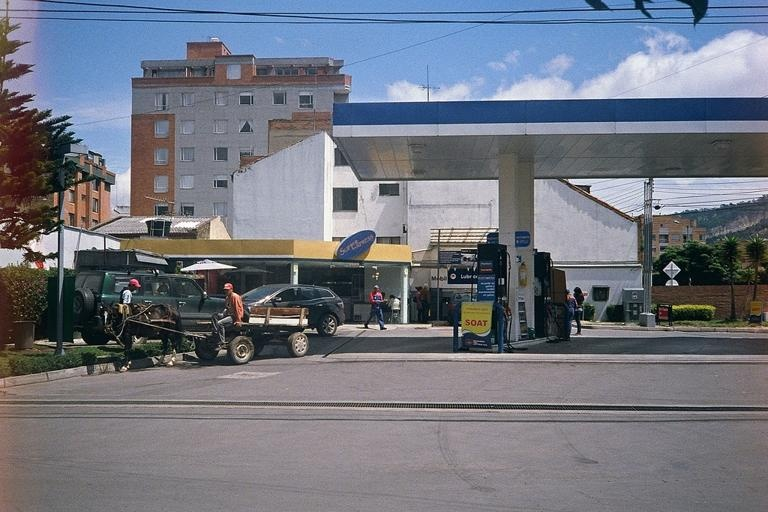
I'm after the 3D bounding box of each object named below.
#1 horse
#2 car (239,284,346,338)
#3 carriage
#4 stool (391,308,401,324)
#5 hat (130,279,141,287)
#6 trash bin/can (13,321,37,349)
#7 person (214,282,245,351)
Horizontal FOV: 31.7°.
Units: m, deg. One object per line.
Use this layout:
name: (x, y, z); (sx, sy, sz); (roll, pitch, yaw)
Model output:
horse: (-8.431, 2.866, 48.127); (2.648, 2.467, 0.914); (3, -7, -33)
car: (-5.309, 2.033, 55.174); (3.194, 2.438, 6.500); (-2, -1, 9)
carriage: (-6.519, 2.973, 48.729); (6.286, 2.412, 2.602); (0, -1, 7)
stool: (0.615, 2.909, 65.450); (0.638, 0.840, 0.630); (1, -4, 11)
hat: (-8.963, 0.968, 49.004); (0.241, 0.171, 0.339); (24, 5, 35)
trash bin/can: (-13.095, 2.868, 49.420); (0.879, 0.942, 0.902); (-3, -8, 13)
person: (-5.545, 2.058, 48.883); (1.232, 2.275, 0.870); (2, -1, -6)
